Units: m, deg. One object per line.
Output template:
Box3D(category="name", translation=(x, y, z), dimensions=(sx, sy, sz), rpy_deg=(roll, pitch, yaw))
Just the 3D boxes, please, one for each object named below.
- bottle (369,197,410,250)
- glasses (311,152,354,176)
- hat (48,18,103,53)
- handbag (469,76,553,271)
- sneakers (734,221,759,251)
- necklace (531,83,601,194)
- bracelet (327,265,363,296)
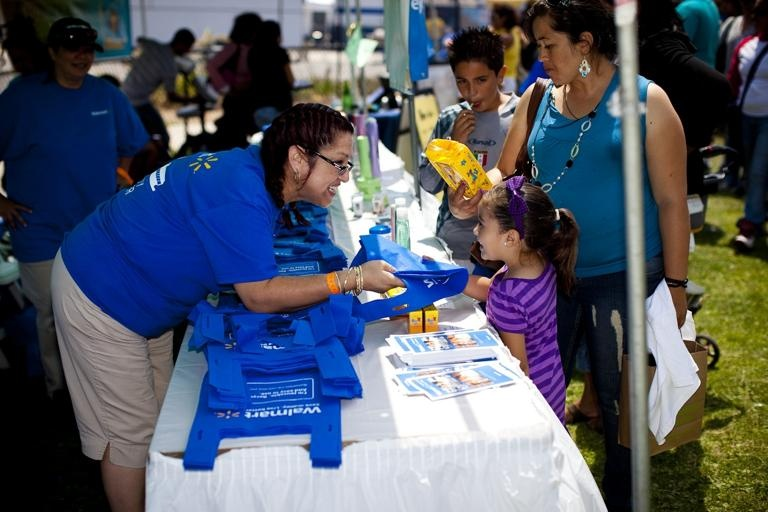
Box3D(category="bottle", translation=(0.038, -0.170, 4.480), dimensions=(0.278, 0.288, 0.288), rpy_deg=(-1, 20, 11))
Box3D(category="glasses", translation=(-0.239, -0.450, 3.580), dimensions=(0.118, 0.036, 0.114), rpy_deg=(34, 9, 4))
Box3D(category="hat", translation=(-1.942, -1.371, 4.644), dimensions=(0.287, 0.163, 0.214), rpy_deg=(7, 13, 24))
Box3D(category="handbag", translation=(0.660, -0.442, 4.158), dimensions=(0.236, 0.993, 0.540), rpy_deg=(21, -3, -32))
Box3D(category="sneakers", translation=(3.449, -0.192, 7.043), dimensions=(0.144, 0.182, 0.416), rpy_deg=(-2, 11, 22))
Box3D(category="necklace", translation=(0.947, -0.548, 3.852), dimensions=(0.074, 0.425, 0.251), rpy_deg=(13, 12, -37))
Box3D(category="bracelet", translation=(-0.193, 0.120, 3.607), dimensions=(0.116, 0.077, 0.157), rpy_deg=(-2, 6, 4))
